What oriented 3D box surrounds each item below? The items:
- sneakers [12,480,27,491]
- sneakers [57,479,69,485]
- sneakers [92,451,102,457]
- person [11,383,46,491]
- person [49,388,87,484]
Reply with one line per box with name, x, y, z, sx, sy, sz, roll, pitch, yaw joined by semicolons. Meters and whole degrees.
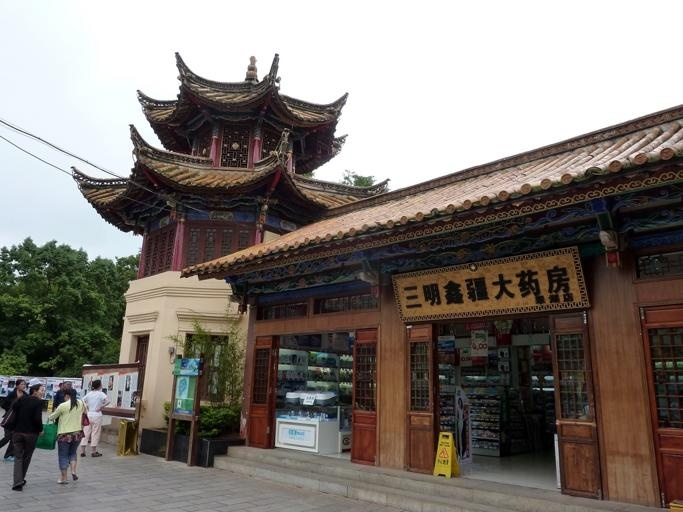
sneakers;-5.045;3.597;7.904;0.080;0.143;0.215;18;-64;-36
sneakers;-4.576;3.714;8.298;0.181;0.053;0.062;-7;-23;27
sneakers;-5.197;4.215;10.737;0.206;0.078;0.091;9;-20;-20
person;-5.008;2.837;7.968;0.445;1.598;0.548;11;-22;-27
person;-4.638;2.997;8.478;0.506;1.513;0.665;5;-20;-14
